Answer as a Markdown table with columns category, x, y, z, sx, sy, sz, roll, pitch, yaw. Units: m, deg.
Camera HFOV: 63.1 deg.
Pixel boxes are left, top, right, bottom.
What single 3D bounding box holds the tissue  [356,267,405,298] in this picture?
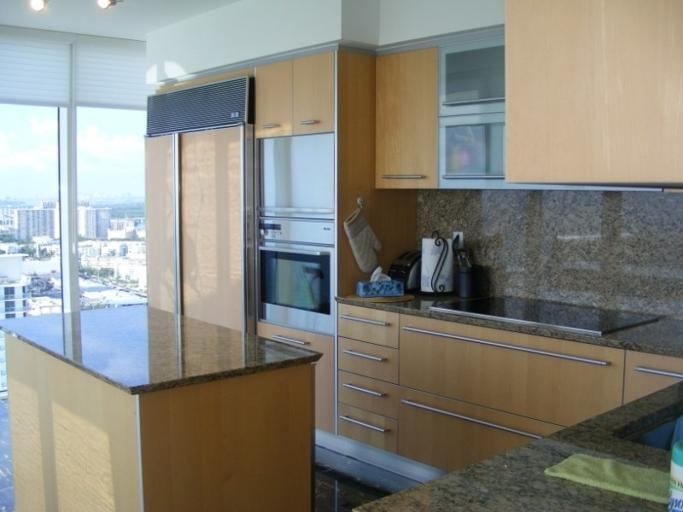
| category | x | y | z | sx | sy | sz | roll | pitch | yaw |
| --- | --- | --- | --- | --- | --- | --- | --- | --- | --- |
| tissue  | 0.250 | 0.170 | 3.693 | 0.298 | 0.204 | 0.165 | 2 | 0 | -35 |

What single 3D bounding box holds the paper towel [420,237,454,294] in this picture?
| category | x | y | z | sx | sy | sz | roll | pitch | yaw |
| --- | --- | --- | --- | --- | --- | --- | --- | --- | --- |
| paper towel | 0.636 | 0.059 | 3.676 | 0.212 | 0.367 | 0.148 | 0 | 3 | 11 |

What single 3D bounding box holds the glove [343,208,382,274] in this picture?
| category | x | y | z | sx | sy | sz | roll | pitch | yaw |
| --- | --- | --- | --- | --- | --- | --- | --- | --- | --- |
| glove | 0.147 | -0.101 | 3.718 | 0.103 | 0.447 | 0.340 | 2 | 4 | 39 |

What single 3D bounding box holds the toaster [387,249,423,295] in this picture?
| category | x | y | z | sx | sy | sz | roll | pitch | yaw |
| --- | --- | --- | --- | --- | --- | --- | --- | --- | --- |
| toaster | 0.493 | 0.115 | 3.948 | 0.197 | 0.256 | 0.330 | 6 | 2 | 44 |
